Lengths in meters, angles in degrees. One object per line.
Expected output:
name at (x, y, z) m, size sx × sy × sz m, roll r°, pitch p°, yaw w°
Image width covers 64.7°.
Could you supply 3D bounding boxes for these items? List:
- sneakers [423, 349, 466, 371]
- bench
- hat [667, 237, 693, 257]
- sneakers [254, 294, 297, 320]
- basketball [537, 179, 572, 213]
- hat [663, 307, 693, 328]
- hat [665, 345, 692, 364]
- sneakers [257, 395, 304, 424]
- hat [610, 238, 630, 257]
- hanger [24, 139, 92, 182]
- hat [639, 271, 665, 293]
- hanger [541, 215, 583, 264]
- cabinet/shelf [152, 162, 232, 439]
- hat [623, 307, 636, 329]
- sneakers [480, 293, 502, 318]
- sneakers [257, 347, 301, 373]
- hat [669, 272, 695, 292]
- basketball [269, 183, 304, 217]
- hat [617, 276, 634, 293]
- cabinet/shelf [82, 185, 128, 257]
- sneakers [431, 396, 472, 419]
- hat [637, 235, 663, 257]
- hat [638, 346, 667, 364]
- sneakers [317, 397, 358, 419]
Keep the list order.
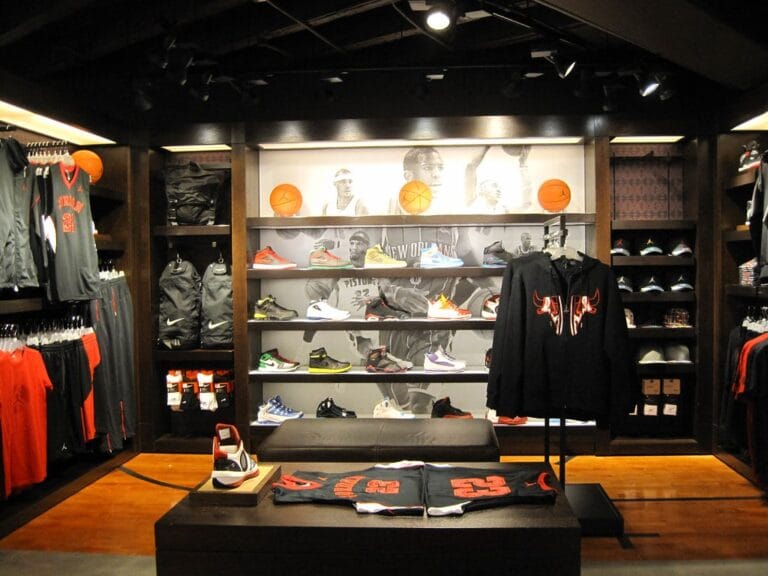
sneakers at (0.521, 0.667, 5.475) m, size 0.432 × 0.172 × 0.146 m, roll 1°, pitch -4°, yaw 1°
bench at (-0.035, 1.103, 4.434) m, size 1.676 × 0.172 × 0.517 m, roll 0°, pitch 10°, yaw 3°
hat at (2.619, -0.348, 5.363) m, size 0.142 × 0.127 × 0.210 m, roll 0°, pitch 3°, yaw 11°
sneakers at (-0.995, 0.186, 5.504) m, size 0.383 × 0.211 × 0.129 m, roll -2°, pitch 11°, yaw -8°
basketball at (1.468, -0.791, 5.413) m, size 0.334 × 0.339 × 0.295 m, roll -1°, pitch -2°, yaw 5°
hat at (2.601, 0.273, 5.391) m, size 0.228 × 0.185 × 0.169 m, roll 0°, pitch -7°, yaw 9°
hat at (2.587, 0.580, 5.358) m, size 0.180 × 0.174 × 0.183 m, roll 2°, pitch -5°, yaw -13°
sneakers at (-0.986, 1.112, 5.597) m, size 0.571 × 0.256 × 0.194 m, roll 1°, pitch -1°, yaw -2°
hat at (2.110, -0.366, 5.424) m, size 0.152 × 0.142 × 0.165 m, roll 3°, pitch 11°, yaw 18°
hanger at (-2.597, -1.020, 4.791) m, size 0.504 × 0.147 × 0.355 m, roll -2°, pitch 5°, yaw -22°
hat at (2.365, -0.046, 5.380) m, size 0.158 × 0.108 × 0.214 m, roll -2°, pitch -7°, yaw 19°
hanger at (1.381, -0.385, 4.702) m, size 0.259 × 0.263 × 0.473 m, roll -3°, pitch 5°, yaw -3°
cabinet/shelf at (-1.766, 0.074, 5.653) m, size 0.755 × 2.576 × 0.807 m, roll -2°, pitch 11°, yaw -8°
hat at (2.209, 0.267, 5.449) m, size 0.102 × 0.134 × 0.356 m, roll 3°, pitch 11°, yaw 21°
sneakers at (0.967, 0.131, 5.491) m, size 0.168 × 0.267 × 0.092 m, roll 6°, pitch -25°, yaw 28°
sneakers at (-0.979, 0.670, 5.547) m, size 0.371 × 0.186 × 0.250 m, roll -1°, pitch 10°, yaw -3°
hat at (2.640, -0.046, 5.363) m, size 0.190 × 0.153 × 0.089 m, roll -1°, pitch 10°, yaw -1°
basketball at (-0.856, -0.815, 5.589) m, size 0.333 × 0.324 × 0.305 m, roll -2°, pitch 19°, yaw -4°
hat at (2.087, -0.030, 5.267) m, size 0.146 × 0.127 × 0.240 m, roll -3°, pitch -6°, yaw 27°
cabinet/shelf at (-2.407, -0.611, 5.329) m, size 0.286 × 0.566 × 0.488 m, roll -6°, pitch 11°, yaw -24°
sneakers at (0.545, 1.042, 5.298) m, size 0.435 × 0.178 × 0.143 m, roll 1°, pitch -4°, yaw -3°
hat at (2.400, -0.376, 5.431) m, size 0.213 × 0.158 × 0.198 m, roll 2°, pitch 10°, yaw 14°
hat at (2.344, 0.575, 5.328) m, size 0.178 × 0.114 × 0.172 m, roll 0°, pitch -1°, yaw 23°
sneakers at (-0.449, 1.061, 5.359) m, size 0.496 × 0.201 × 0.153 m, roll 0°, pitch -1°, yaw -3°
